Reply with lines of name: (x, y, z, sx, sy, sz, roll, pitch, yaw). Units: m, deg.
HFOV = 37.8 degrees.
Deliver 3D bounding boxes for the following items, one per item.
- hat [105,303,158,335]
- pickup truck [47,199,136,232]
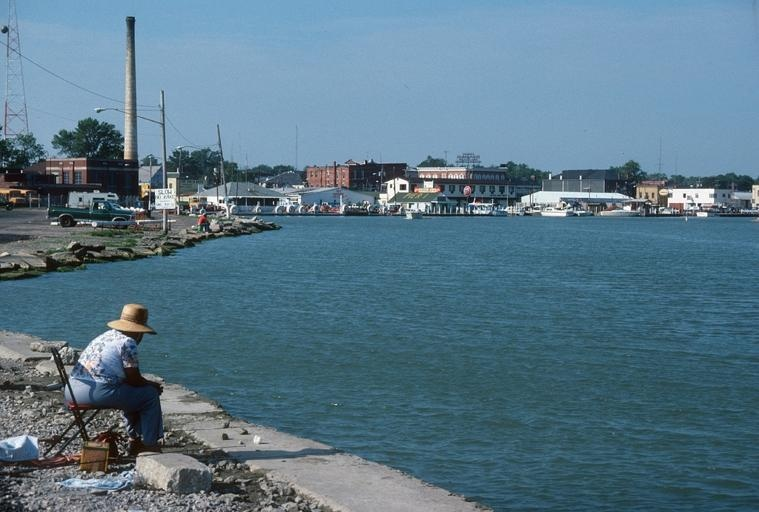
hat: (-4.949, 1.230, 21.875, 0.889, 0.391, 0.869, 5, 3, -37)
pickup truck: (-20.272, -2.922, 78.786, 5.454, 1.440, 2.403, -1, 4, -17)
